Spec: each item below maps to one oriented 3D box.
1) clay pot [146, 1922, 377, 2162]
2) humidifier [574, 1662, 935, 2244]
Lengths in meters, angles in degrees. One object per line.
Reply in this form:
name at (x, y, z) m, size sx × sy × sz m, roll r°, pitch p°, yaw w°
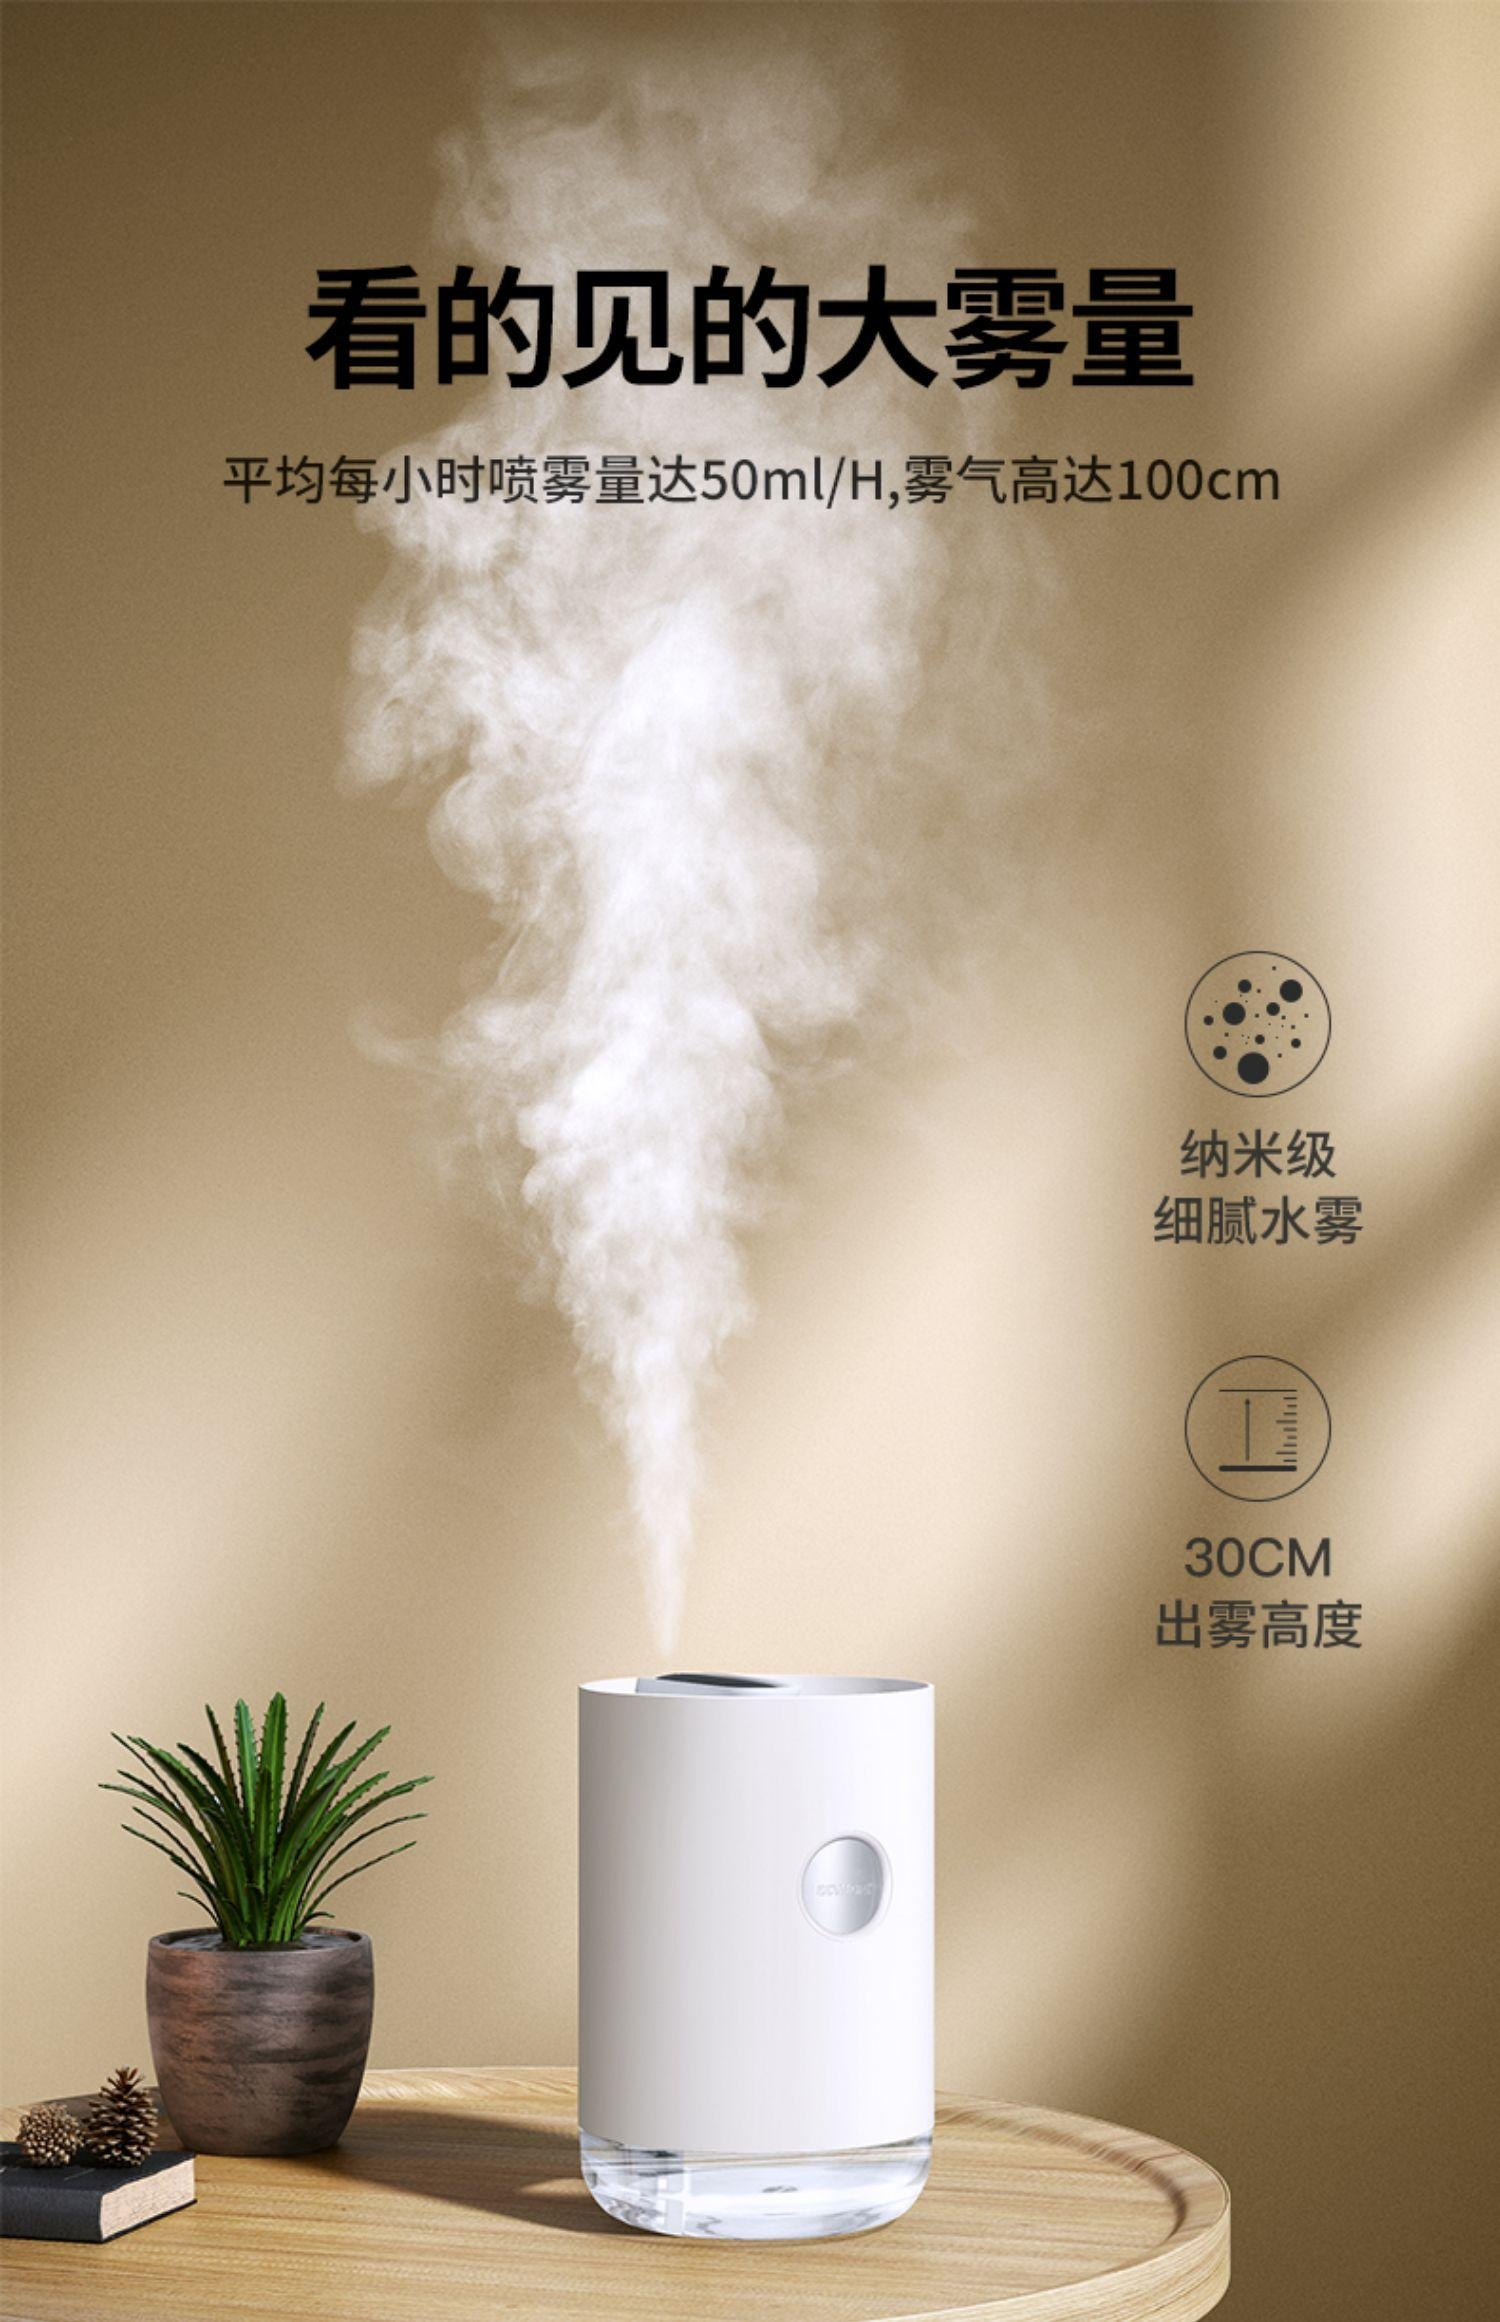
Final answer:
clay pot at (-0.227, 0.412, 1.121) m, size 0.106 × 0.080 × 0.105 m, roll -1°, pitch -16°, yaw 0°
humidifier at (0.004, 0.341, 1.028) m, size 0.165 × 0.214 × 0.144 m, roll 6°, pitch -15°, yaw -23°
